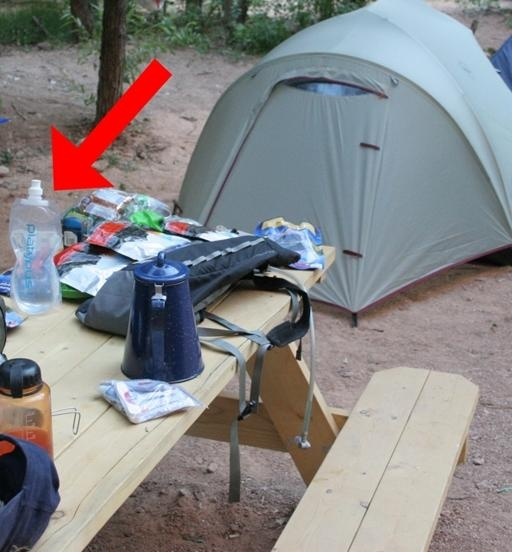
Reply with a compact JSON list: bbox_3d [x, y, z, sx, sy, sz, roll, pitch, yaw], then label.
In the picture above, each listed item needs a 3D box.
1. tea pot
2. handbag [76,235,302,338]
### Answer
[{"bbox_3d":[-0.191,0.086,1.268,0.141,0.288,0.152,5,23,-2],"label":"tea pot"},{"bbox_3d":[-0.174,-0.004,1.662,0.409,0.129,0.603,6,25,45],"label":"handbag"}]
